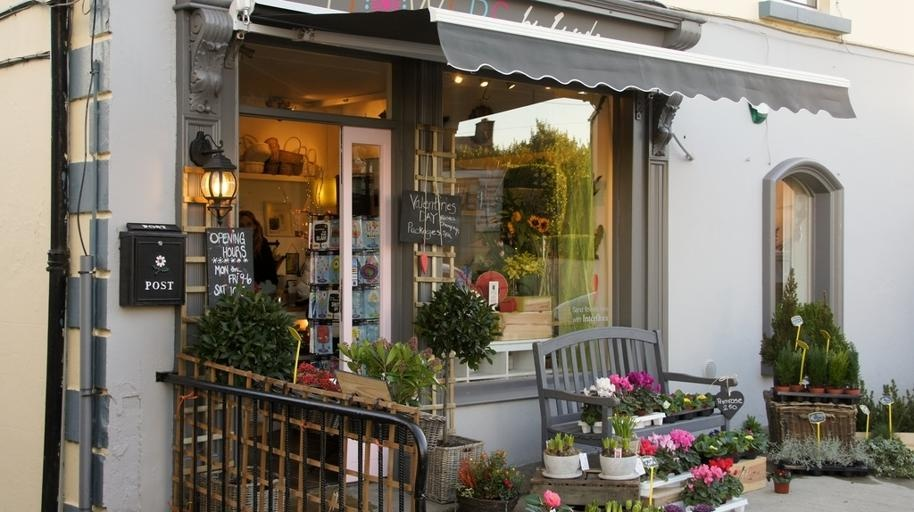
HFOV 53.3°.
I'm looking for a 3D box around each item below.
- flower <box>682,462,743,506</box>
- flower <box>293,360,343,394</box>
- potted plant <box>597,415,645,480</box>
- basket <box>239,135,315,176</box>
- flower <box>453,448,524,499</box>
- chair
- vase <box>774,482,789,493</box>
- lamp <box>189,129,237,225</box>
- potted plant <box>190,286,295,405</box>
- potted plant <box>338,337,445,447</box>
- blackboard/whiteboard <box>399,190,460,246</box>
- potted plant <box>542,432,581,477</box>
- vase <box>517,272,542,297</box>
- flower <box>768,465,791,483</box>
[{"bbox_3d":[2.851,2.568,10.226,0.678,0.456,0.397,0,-4,8],"label":"flower"},{"bbox_3d":[-1.478,1.291,9.729,0.284,0.180,0.387,15,0,8],"label":"flower"},{"bbox_3d":[1.731,2.057,9.838,0.620,0.694,0.609,1,-7,-8],"label":"potted plant"},{"bbox_3d":[-2.464,-1.352,12.317,0.748,0.709,0.469,5,-6,-44],"label":"basket"},{"bbox_3d":[0.355,2.492,10.323,0.568,0.329,0.567,0,-2,21],"label":"flower"},{"bbox_3d":[2.133,1.741,11.009,2.415,1.598,1.291,0,1,-41],"label":"chair"},{"bbox_3d":[3.876,2.759,10.929,0.138,0.102,0.142,-2,-4,26],"label":"vase"},{"bbox_3d":[-2.619,-0.826,9.670,0.492,0.985,0.330,2,-5,-20],"label":"lamp"},{"bbox_3d":[-2.204,0.768,9.827,1.044,1.102,0.857,-4,-1,13],"label":"potted plant"},{"bbox_3d":[-0.650,1.425,9.264,0.940,1.142,1.435,0,-4,4],"label":"potted plant"},{"bbox_3d":[-0.395,-0.450,11.086,0.668,0.555,0.078,3,-4,-29],"label":"blackboard/whiteboard"},{"bbox_3d":[1.129,2.167,9.918,0.425,0.390,0.421,-1,-4,-6],"label":"potted plant"},{"bbox_3d":[0.906,0.381,11.757,0.295,0.294,0.276,1,-1,-38],"label":"vase"},{"bbox_3d":[3.902,2.632,10.981,0.203,0.096,0.206,0,-2,-5],"label":"flower"}]
